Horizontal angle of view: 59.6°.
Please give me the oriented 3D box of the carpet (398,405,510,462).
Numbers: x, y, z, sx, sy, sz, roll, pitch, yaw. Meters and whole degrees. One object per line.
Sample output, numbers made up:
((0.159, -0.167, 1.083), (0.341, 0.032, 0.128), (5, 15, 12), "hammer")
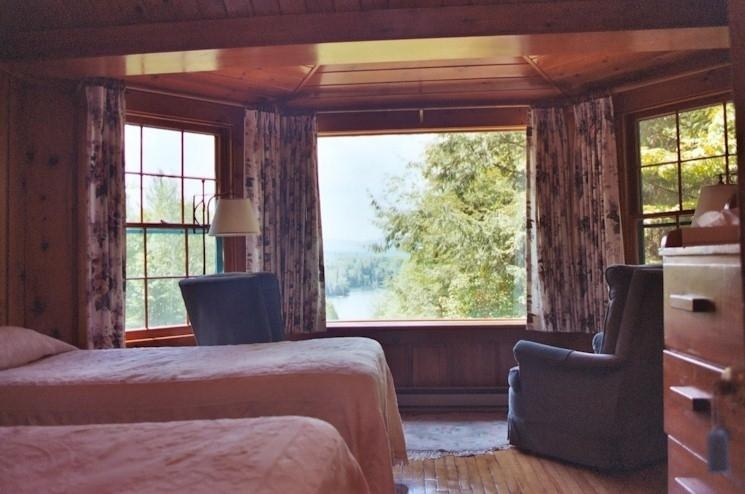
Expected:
((0.742, 1.610, 5.706), (0.956, 0.038, 1.139), (-2, 4, 3), "carpet")

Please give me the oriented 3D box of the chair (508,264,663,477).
((1.722, 0.862, 5.348), (1.316, 1.443, 1.307), (1, 0, -37), "chair")

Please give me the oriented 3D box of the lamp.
((-1.204, -0.223, 5.667), (0.417, 0.380, 0.443), (-3, -4, 7), "lamp")
